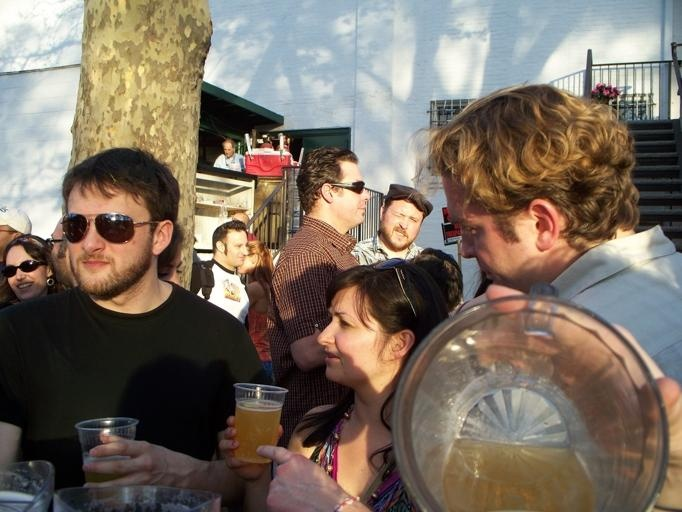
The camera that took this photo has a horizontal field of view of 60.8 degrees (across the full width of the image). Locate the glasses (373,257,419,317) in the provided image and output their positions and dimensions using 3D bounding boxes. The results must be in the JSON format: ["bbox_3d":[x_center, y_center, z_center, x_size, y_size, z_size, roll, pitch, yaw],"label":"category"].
[{"bbox_3d":[0.266,0.133,2.645,0.065,0.232,0.213,-20,6,-15],"label":"glasses"}]

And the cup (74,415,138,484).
[{"bbox_3d":[-0.767,0.653,1.902,0.193,0.203,0.199,-2,-6,0],"label":"cup"}]

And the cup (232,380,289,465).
[{"bbox_3d":[-0.330,0.608,2.202,0.246,0.306,0.254,2,-3,0],"label":"cup"}]

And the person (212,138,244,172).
[{"bbox_3d":[-2.560,-2.280,13.390,0.671,0.801,0.430,0,18,-10],"label":"person"}]

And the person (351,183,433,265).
[{"bbox_3d":[0.545,-0.275,5.730,0.583,0.882,0.739,17,-2,5],"label":"person"}]
